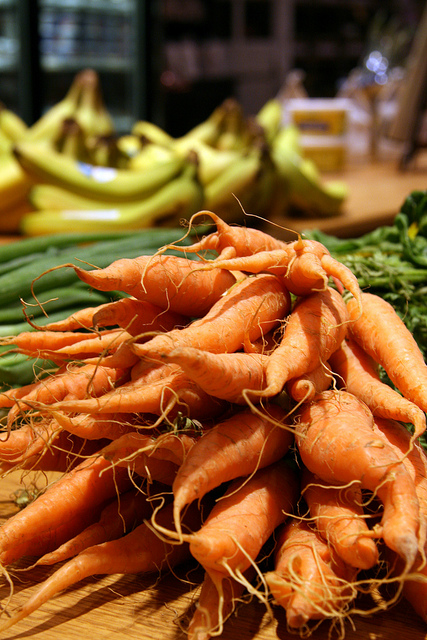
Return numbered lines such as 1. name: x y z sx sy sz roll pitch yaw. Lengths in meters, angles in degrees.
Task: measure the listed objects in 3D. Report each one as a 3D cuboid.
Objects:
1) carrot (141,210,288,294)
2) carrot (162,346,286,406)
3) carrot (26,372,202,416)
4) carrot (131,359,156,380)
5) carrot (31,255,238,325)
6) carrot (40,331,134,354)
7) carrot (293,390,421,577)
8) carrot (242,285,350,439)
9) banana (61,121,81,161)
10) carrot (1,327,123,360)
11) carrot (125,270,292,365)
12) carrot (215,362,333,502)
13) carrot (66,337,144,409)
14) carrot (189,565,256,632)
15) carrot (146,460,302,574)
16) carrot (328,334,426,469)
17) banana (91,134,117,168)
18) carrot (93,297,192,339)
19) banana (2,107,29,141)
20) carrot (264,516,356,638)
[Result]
1. carrot: -0.059 -0.115 1.224 0.110 0.144 0.516 22 -14 -35
2. carrot: 0.005 0.112 0.927 0.084 0.087 0.283 -14 -20 37
3. carrot: -0.169 0.136 1.009 0.349 0.079 0.076 -4 -8 -17
4. carrot: -0.128 0.095 1.048 0.012 0.041 0.033 36 30 -31
5. carrot: -0.137 -0.075 1.116 0.134 0.149 0.520 1 -1 33
6. carrot: -0.261 0.048 1.143 0.156 0.037 0.030 -8 4 2
7. carrot: 0.211 0.252 0.935 0.119 0.106 0.381 -6 21 -9
8. carrot: 0.165 0.073 1.068 0.111 0.114 0.429 11 43 34
9. banana: -0.634 -0.783 2.493 0.056 0.193 0.058 6 6 40
10. carrot: -0.320 0.052 1.199 0.349 0.059 0.070 -2 5 -14
11. carrot: 0.029 -0.051 1.154 0.121 0.126 0.476 7 23 44
12. carrot: 0.107 0.199 0.985 0.342 0.082 0.076 -42 4 -20
13. carrot: -0.181 0.088 1.075 0.074 0.069 0.241 15 12 32
14. carrot: 0.029 0.434 0.878 0.137 0.041 0.039 -41 8 -23
15. carrot: 0.027 0.339 1.006 0.188 0.102 0.336 18 17 26
16. carrot: 0.322 0.146 1.186 0.109 0.106 0.450 -27 24 -8
17. banana: -0.495 -0.767 2.534 0.084 0.165 0.067 7 -8 -20
18. carrot: -0.115 -0.015 1.139 0.262 0.085 0.076 1 -36 -38
19. banana: -0.808 -0.797 2.249 0.089 0.114 0.360 -5 22 -19
20. carrot: 0.144 0.393 0.903 0.098 0.088 0.245 21 13 -8
